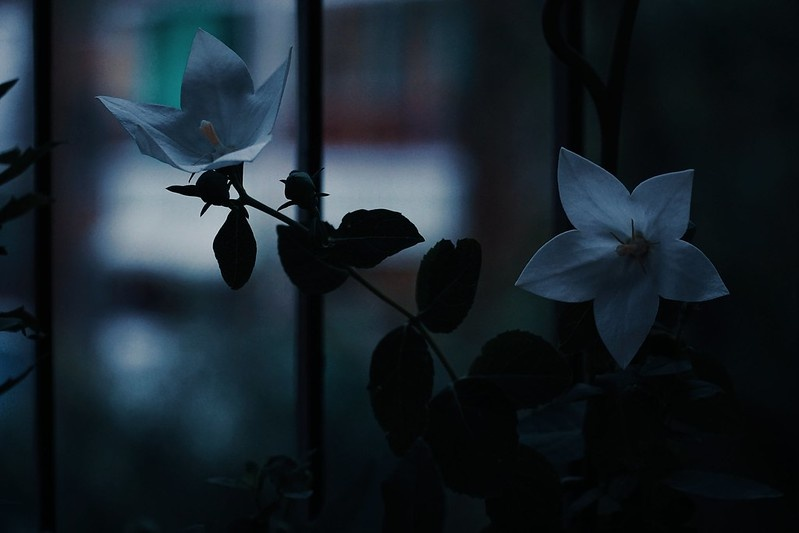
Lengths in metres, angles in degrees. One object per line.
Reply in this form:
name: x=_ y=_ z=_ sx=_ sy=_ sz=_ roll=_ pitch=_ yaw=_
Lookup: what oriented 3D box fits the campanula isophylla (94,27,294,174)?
campanula isophylla: x=-0.175 y=-0.142 z=0.899 sx=0.183 sy=0.076 sz=0.179 roll=-24 pitch=-13 yaw=-14
